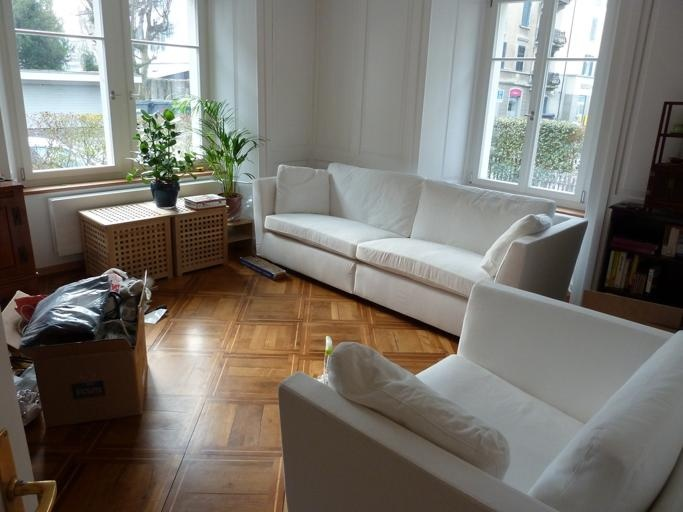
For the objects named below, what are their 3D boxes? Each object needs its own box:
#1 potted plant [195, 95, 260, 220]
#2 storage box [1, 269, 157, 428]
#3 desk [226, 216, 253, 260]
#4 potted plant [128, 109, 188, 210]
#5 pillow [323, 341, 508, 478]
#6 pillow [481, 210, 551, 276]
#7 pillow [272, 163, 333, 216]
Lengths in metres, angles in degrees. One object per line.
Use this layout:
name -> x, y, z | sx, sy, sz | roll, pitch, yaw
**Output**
potted plant -> -1.090, -0.919, 4.834 | 0.654, 1.070, 0.649 | -2, 6, 25
storage box -> -1.472, 0.504, 2.795 | 0.597, 0.639, 0.903 | -5, 12, -21
desk -> -0.928, -0.150, 4.779 | 0.345, 0.337, 0.272 | -6, 8, 13
potted plant -> -1.510, -0.845, 4.310 | 0.501, 0.810, 0.585 | 0, 6, 35
pillow -> 0.240, 0.496, 1.716 | 0.631, 0.208, 0.341 | 23, 9, 12
pillow -> 1.169, -0.067, 3.188 | 0.470, 0.398, 0.258 | -8, 21, -22
pillow -> -0.362, -0.586, 4.514 | 0.474, 0.472, 0.164 | 4, -4, -20
